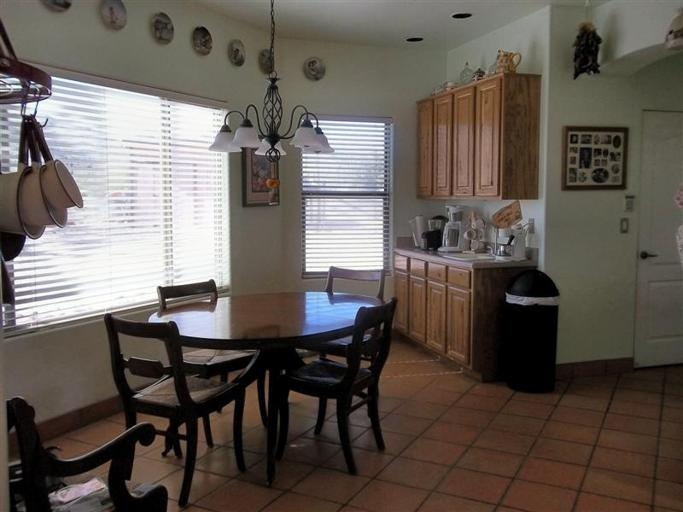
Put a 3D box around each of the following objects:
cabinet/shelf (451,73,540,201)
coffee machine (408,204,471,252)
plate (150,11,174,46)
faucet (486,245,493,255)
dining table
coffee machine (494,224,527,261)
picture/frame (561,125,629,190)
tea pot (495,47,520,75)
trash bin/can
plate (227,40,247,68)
[{"bbox_3d":[1.475,-1.100,4.821,0.470,1.198,1.229,-2,5,-10],"label":"cabinet/shelf"},{"bbox_3d":[1.075,-0.260,5.680,0.550,0.547,0.571,0,2,4],"label":"coffee machine"},{"bbox_3d":[-1.519,-1.928,4.433,0.052,0.262,0.243,4,11,25],"label":"plate"},{"bbox_3d":[1.545,-0.062,5.448,0.070,0.087,0.114,0,-2,12],"label":"faucet"},{"bbox_3d":[-0.610,1.047,3.986,1.268,1.815,1.244,-3,-5,7],"label":"dining table"},{"bbox_3d":[1.601,-0.112,4.881,0.227,0.370,0.389,0,-1,6],"label":"coffee machine"},{"bbox_3d":[2.293,-0.909,4.733,0.615,0.605,0.029,-1,6,-10],"label":"picture/frame"},{"bbox_3d":[1.555,-1.785,4.804,0.232,0.262,0.485,3,11,17],"label":"tea pot"},{"bbox_3d":[1.653,0.656,4.565,0.458,1.021,0.332,3,11,17],"label":"trash bin/can"},{"bbox_3d":[-1.025,-1.981,5.105,0.050,0.215,0.212,-8,26,-29],"label":"plate"}]
